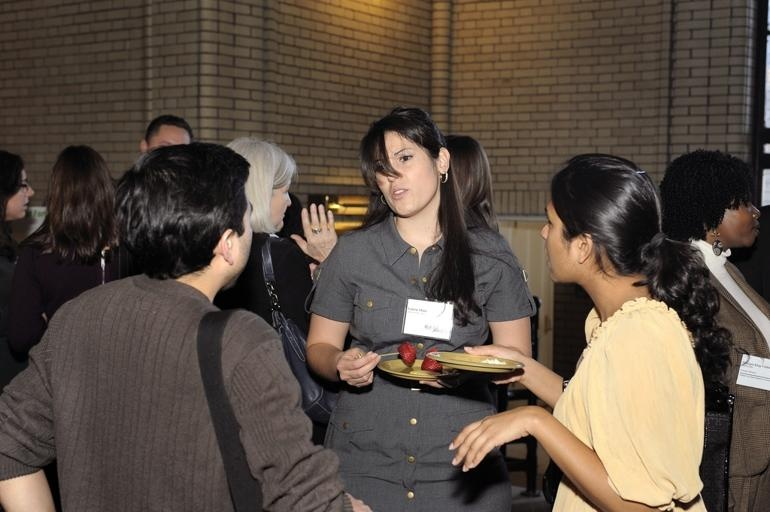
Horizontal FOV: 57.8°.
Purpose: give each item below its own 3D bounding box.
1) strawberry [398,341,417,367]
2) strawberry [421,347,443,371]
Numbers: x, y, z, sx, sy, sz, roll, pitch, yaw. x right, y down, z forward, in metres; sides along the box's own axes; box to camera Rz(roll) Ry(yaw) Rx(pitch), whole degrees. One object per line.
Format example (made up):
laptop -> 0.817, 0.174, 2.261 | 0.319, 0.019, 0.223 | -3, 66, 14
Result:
strawberry -> 0.090, 0.398, 2.805 | 0.065, 0.086, 0.037 | -15, -17, 33
strawberry -> 0.175, 0.406, 2.732 | 0.079, 0.080, 0.055 | -4, -7, 24
